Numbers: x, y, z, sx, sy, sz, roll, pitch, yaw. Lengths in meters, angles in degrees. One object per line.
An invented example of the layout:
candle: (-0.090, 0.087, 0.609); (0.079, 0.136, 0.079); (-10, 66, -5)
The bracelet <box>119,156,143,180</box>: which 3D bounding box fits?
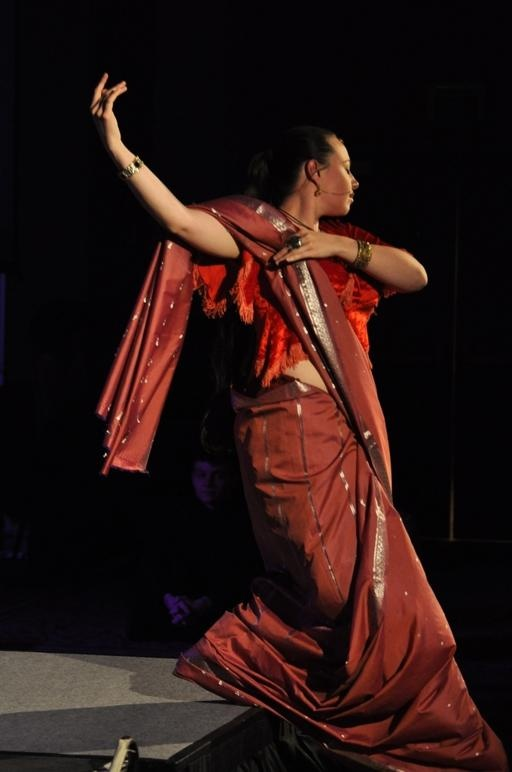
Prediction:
bracelet: (-0.286, -0.518, 2.310); (0.051, 0.031, 0.055); (-33, 7, 36)
